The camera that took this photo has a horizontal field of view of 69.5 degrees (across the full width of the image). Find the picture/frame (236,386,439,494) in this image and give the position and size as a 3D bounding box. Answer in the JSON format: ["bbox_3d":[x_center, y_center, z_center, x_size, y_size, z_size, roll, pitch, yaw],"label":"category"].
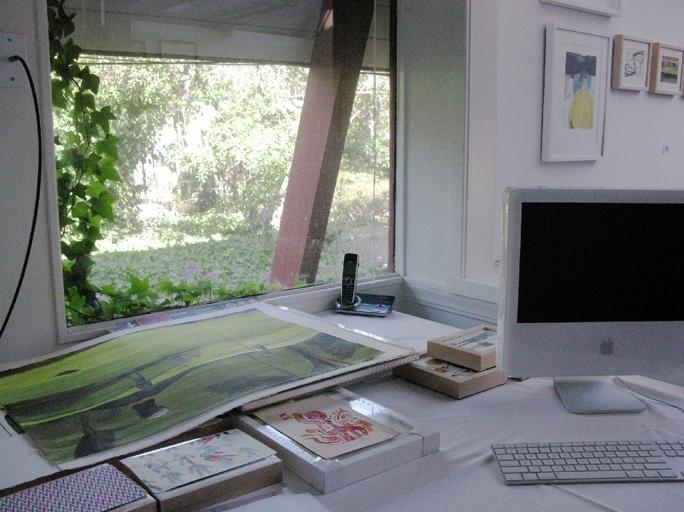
[{"bbox_3d":[0.035,0.344,1.000,0.197,0.028,0.218,-11,18,-37],"label":"picture/frame"}]

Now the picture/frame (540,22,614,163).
[{"bbox_3d":[1.094,-0.787,2.333,0.728,0.644,0.070,-8,13,-43],"label":"picture/frame"}]

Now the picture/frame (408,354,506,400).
[{"bbox_3d":[0.321,0.312,1.379,0.217,0.077,0.227,5,7,43],"label":"picture/frame"}]

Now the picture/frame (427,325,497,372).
[{"bbox_3d":[0.368,0.255,1.406,0.127,0.029,0.137,-11,14,-35],"label":"picture/frame"}]

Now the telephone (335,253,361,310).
[{"bbox_3d":[0.021,0.096,1.949,0.087,0.198,0.132,-1,14,3],"label":"telephone"}]
